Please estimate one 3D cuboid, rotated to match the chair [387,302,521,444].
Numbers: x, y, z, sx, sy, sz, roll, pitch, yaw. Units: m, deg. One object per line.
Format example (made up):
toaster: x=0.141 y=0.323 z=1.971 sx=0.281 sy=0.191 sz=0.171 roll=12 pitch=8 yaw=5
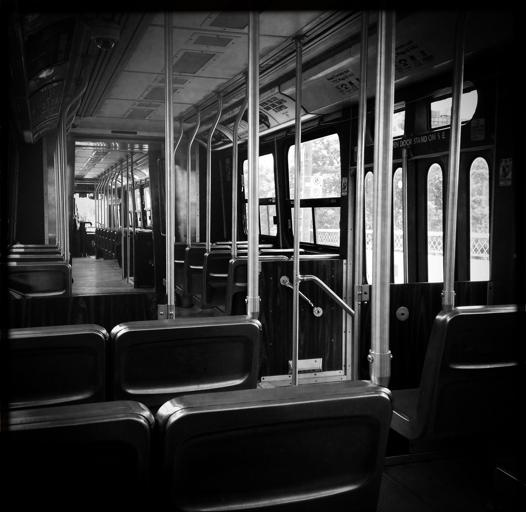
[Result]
chair: x=1.024 y=0.633 z=2.520 sx=0.499 sy=0.676 sz=0.570 roll=3 pitch=-1 yaw=-7
